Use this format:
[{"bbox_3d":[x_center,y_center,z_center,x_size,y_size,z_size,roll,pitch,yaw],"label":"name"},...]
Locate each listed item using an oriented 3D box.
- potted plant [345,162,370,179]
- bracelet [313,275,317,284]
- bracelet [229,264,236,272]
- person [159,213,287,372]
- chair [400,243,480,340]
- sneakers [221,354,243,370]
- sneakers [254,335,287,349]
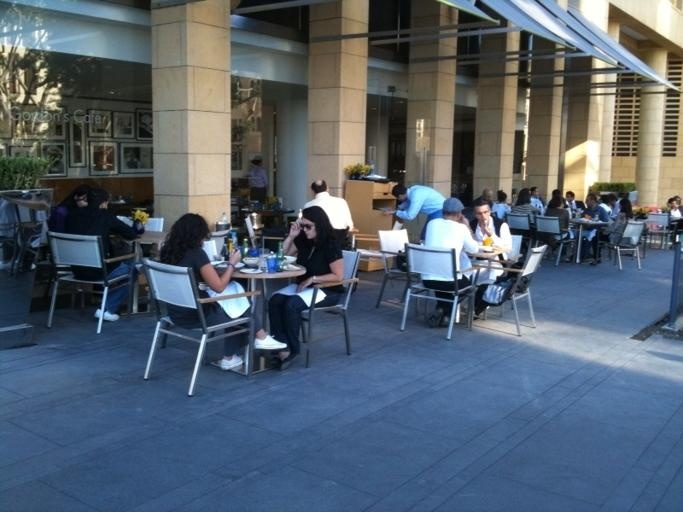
[{"bbox_3d":[0.321,-1.619,10.908,0.468,0.295,0.393,5,11,12],"label":"potted plant"},{"bbox_3d":[-0.261,0.228,5.582,0.045,0.064,0.063,3,1,31],"label":"bracelet"},{"bbox_3d":[-0.978,0.098,5.116,0.060,0.062,0.074,0,-14,-9],"label":"bracelet"},{"bbox_3d":[-1.129,0.367,5.220,0.886,1.495,0.510,-6,15,-37],"label":"person"},{"bbox_3d":[1.203,0.382,6.892,0.738,1.041,0.782,8,8,31],"label":"chair"},{"bbox_3d":[-1.050,1.003,5.444,0.110,0.099,0.231,9,13,40],"label":"sneakers"},{"bbox_3d":[-0.671,0.820,5.460,0.321,0.124,0.114,0,2,-5],"label":"sneakers"}]
